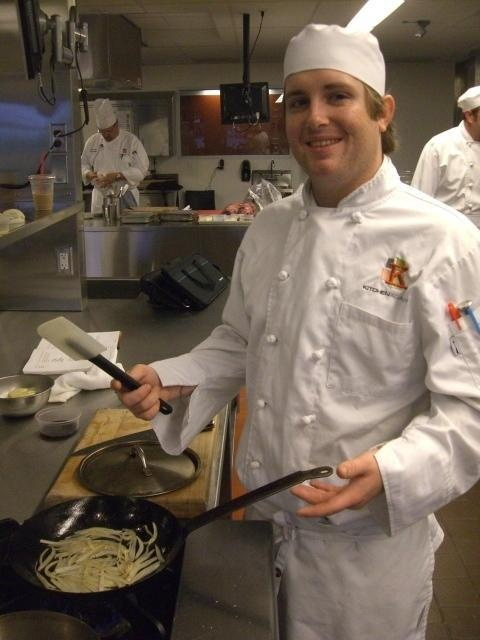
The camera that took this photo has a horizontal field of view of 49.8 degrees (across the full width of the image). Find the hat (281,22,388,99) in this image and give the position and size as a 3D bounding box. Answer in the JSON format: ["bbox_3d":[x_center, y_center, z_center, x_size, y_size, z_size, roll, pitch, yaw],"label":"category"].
[{"bbox_3d":[0.172,-0.429,0.939,0.153,0.093,0.154,4,0,16],"label":"hat"}]

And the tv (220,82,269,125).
[{"bbox_3d":[0.047,-2.500,5.987,0.525,0.579,0.311,3,24,17],"label":"tv"}]

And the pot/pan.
[{"bbox_3d":[-0.120,0.315,0.824,0.447,0.057,0.213,-2,6,-17],"label":"pot/pan"}]
